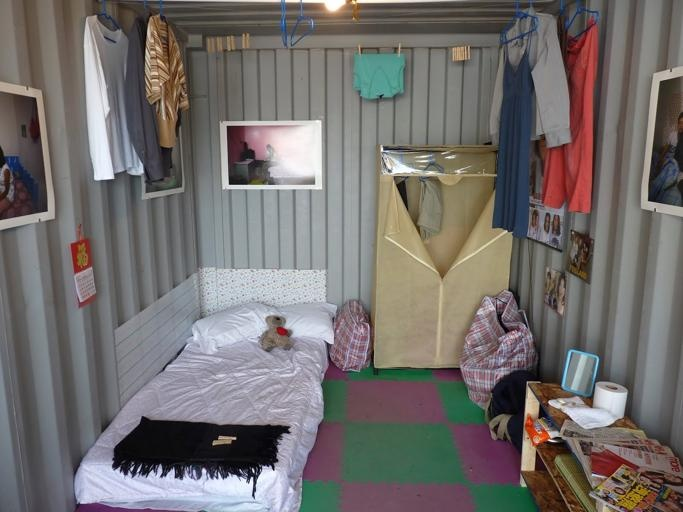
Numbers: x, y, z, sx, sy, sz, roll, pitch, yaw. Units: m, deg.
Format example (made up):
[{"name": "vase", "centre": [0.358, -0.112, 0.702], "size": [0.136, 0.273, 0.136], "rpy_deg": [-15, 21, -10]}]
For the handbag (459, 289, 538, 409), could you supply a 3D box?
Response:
[{"name": "handbag", "centre": [1.311, 0.800, 4.171], "size": [0.560, 0.949, 0.323], "rpy_deg": [-16, -35, 29]}]

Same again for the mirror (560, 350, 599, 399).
[{"name": "mirror", "centre": [1.519, 0.766, 3.077], "size": [0.205, 0.349, 0.022], "rpy_deg": [13, 15, 36]}]

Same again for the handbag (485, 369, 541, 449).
[{"name": "handbag", "centre": [1.299, 1.153, 3.729], "size": [0.208, 0.523, 0.427], "rpy_deg": [37, -23, -32]}]

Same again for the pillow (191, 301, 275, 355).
[{"name": "pillow", "centre": [-1.055, 0.686, 4.683], "size": [0.543, 0.183, 0.449], "rpy_deg": [-17, 29, -31]}]

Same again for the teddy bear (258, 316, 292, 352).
[{"name": "teddy bear", "centre": [-0.630, 0.748, 4.585], "size": [0.302, 0.399, 0.279], "rpy_deg": [3, -15, -15]}]
